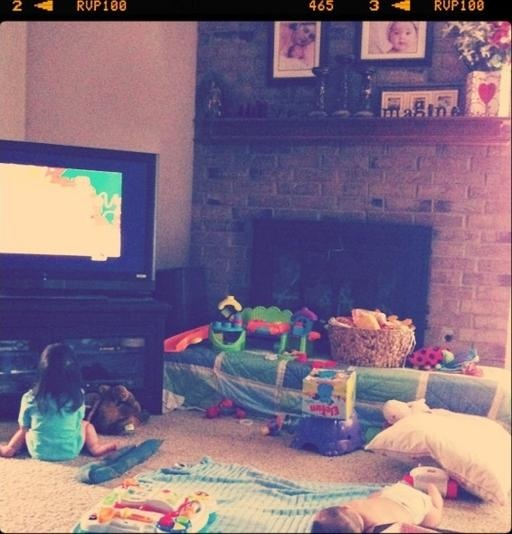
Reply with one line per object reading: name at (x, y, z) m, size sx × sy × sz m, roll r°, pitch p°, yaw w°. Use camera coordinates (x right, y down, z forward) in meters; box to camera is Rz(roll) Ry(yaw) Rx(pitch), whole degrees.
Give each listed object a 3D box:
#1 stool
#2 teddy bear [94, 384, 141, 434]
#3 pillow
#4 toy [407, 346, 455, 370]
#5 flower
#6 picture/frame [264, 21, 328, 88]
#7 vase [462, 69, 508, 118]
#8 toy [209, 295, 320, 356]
stool at (0.286, 0.706, 2.390) m, size 0.283 × 0.146 × 0.293 m, roll 4°, pitch -5°, yaw 23°
teddy bear at (-0.625, 0.644, 2.446) m, size 0.200 × 0.193 × 0.076 m, roll 17°, pitch -40°, yaw -19°
pillow at (0.746, 0.664, 2.009) m, size 0.332 × 0.096 × 0.330 m, roll 5°, pitch 5°, yaw -33°
toy at (0.841, 0.442, 2.647) m, size 0.210 × 0.100 × 0.058 m, roll 0°, pitch 7°, yaw -2°
flower at (1.110, -1.108, 2.737) m, size 0.280 × 0.268 × 0.165 m, roll 12°, pitch 12°, yaw 29°
picture/frame at (0.218, -1.241, 3.094) m, size 0.287 × 0.376 × 0.020 m, roll 3°, pitch -14°, yaw 10°
vase at (1.152, -0.866, 2.747) m, size 0.202 × 0.252 × 0.075 m, roll 4°, pitch 8°, yaw 25°
toy at (0.041, 0.318, 2.966) m, size 0.559 × 0.269 × 0.216 m, roll 2°, pitch 12°, yaw -1°
